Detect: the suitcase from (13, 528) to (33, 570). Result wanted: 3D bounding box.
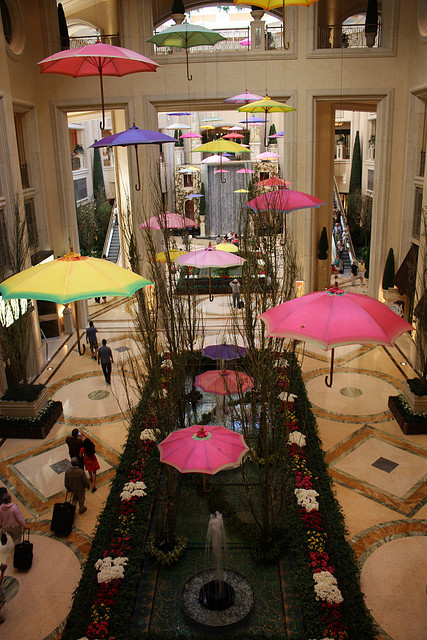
[{"bbox_3d":[-2.199,2.689,4.858,0.199,0.355,0.219,0,5,-25],"label":"suitcase"}]

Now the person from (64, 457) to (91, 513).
[{"bbox_3d":[-1.878,2.261,5.794,0.312,0.858,0.226,4,26,-2],"label":"person"}]

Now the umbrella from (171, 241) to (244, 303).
[{"bbox_3d":[-0.113,-1.085,9.520,1.442,1.355,1.494,-14,21,-36],"label":"umbrella"}]

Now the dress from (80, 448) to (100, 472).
[{"bbox_3d":[-1.887,2.112,6.345,0.277,0.425,0.225,2,5,-13],"label":"dress"}]

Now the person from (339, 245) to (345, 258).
[{"bbox_3d":[6.892,-3.745,22.715,0.244,0.792,0.330,13,8,13],"label":"person"}]

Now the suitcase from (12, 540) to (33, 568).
[{"bbox_3d":[-2.208,2.700,4.855,0.234,0.336,0.208,1,5,-19],"label":"suitcase"}]

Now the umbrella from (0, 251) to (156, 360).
[{"bbox_3d":[-2.703,-0.092,8.055,2.454,2.112,2.605,0,23,3],"label":"umbrella"}]

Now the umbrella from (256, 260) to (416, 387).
[{"bbox_3d":[1.038,0.124,3.681,1.169,0.986,1.243,1,15,10],"label":"umbrella"}]

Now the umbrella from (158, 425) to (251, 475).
[{"bbox_3d":[-0.122,1.444,4.602,0.956,0.351,0.845,3,5,-6],"label":"umbrella"}]

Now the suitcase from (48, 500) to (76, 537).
[{"bbox_3d":[-1.970,2.573,5.459,0.291,0.427,0.229,1,5,-21],"label":"suitcase"}]

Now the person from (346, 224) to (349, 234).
[{"bbox_3d":[7.793,-5.341,24.599,0.169,0.585,1.225,4,5,15],"label":"person"}]

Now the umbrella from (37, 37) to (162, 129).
[{"bbox_3d":[-1.635,-3.536,6.394,1.371,1.147,1.537,-5,25,-5],"label":"umbrella"}]
